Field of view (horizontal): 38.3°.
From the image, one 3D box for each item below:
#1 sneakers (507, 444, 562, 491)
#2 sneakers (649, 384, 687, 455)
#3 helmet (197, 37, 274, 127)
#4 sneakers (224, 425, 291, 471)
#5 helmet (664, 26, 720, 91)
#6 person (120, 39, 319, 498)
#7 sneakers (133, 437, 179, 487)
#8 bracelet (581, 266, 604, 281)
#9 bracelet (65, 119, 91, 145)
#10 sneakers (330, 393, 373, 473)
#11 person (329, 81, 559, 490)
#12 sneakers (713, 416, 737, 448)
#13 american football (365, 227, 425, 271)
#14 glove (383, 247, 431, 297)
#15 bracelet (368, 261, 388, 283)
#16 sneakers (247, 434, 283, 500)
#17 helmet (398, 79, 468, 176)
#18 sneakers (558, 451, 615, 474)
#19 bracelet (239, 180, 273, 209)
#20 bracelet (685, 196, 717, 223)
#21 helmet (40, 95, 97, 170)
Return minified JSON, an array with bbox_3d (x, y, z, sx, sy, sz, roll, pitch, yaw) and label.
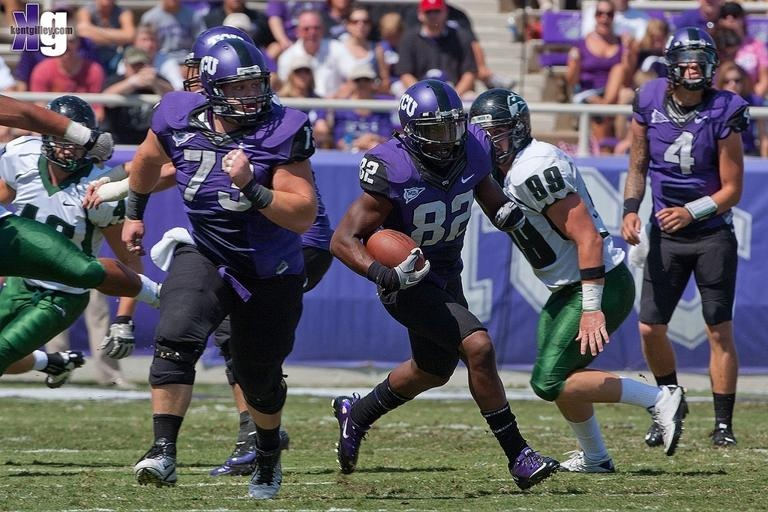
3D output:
[{"bbox_3d":[0.871,1.318,6.826,0.357,0.197,0.166,-22,16,40],"label":"sneakers"},{"bbox_3d":[1.900,1.063,7.318,0.290,0.479,0.185,-6,0,-5],"label":"sneakers"},{"bbox_3d":[-0.890,-1.074,6.704,0.438,0.415,0.528,-14,38,-23],"label":"helmet"},{"bbox_3d":[-0.851,1.380,7.755,0.618,0.252,0.201,-2,-5,-37],"label":"sneakers"},{"bbox_3d":[2.202,-1.425,7.930,0.435,0.425,0.464,0,3,-3],"label":"helmet"},{"bbox_3d":[-0.916,0.120,6.618,1.005,2.820,0.582,0,6,-4],"label":"person"},{"bbox_3d":[-1.342,1.235,6.496,0.221,0.290,0.161,0,6,-5],"label":"sneakers"},{"bbox_3d":[1.341,0.111,7.064,0.116,0.053,0.115,-1,2,31],"label":"bracelet"},{"bbox_3d":[-1.943,-0.783,7.068,0.145,0.129,0.166,-30,42,-17],"label":"bracelet"},{"bbox_3d":[-0.260,1.220,7.546,0.287,0.522,0.193,-16,-15,28],"label":"sneakers"},{"bbox_3d":[0.336,0.199,7.067,1.428,2.628,0.847,1,6,12],"label":"person"},{"bbox_3d":[2.489,1.305,8.064,0.180,0.186,0.155,2,6,19],"label":"sneakers"},{"bbox_3d":[0.039,-0.049,6.917,0.235,0.184,0.323,21,0,-5],"label":"american football"},{"bbox_3d":[0.165,0.080,6.741,0.220,0.247,0.109,0,6,0],"label":"glove"},{"bbox_3d":[-0.042,0.115,6.732,0.135,0.116,0.118,2,1,20],"label":"bracelet"},{"bbox_3d":[-0.745,1.313,6.934,0.168,0.423,0.194,-1,0,-9],"label":"sneakers"},{"bbox_3d":[0.312,-0.793,6.926,0.424,0.625,0.217,0,6,2],"label":"helmet"},{"bbox_3d":[1.396,1.405,7.591,0.500,0.182,0.157,2,-2,10],"label":"sneakers"},{"bbox_3d":[-0.736,-0.363,6.430,0.155,0.111,0.098,38,4,-3],"label":"bracelet"},{"bbox_3d":[2.295,-0.334,7.955,0.215,0.179,0.161,-5,7,-40],"label":"bracelet"},{"bbox_3d":[-2.227,-0.873,7.875,0.414,0.483,0.525,14,1,-17],"label":"helmet"}]
